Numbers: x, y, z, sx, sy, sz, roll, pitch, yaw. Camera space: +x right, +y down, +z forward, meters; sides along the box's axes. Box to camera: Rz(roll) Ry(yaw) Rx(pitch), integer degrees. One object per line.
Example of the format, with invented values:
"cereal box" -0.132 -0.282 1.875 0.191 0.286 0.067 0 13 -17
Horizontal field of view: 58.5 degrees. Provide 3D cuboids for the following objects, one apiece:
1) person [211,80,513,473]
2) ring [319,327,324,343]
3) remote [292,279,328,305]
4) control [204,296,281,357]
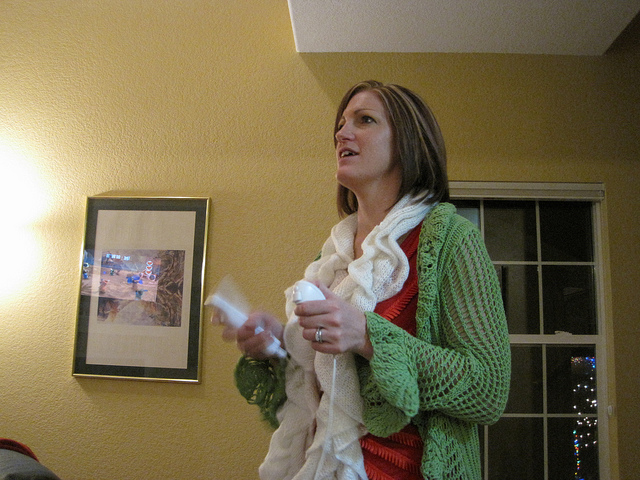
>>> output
"person" 0.167 0.095 1.940 0.908 1.410 0.463 0 -3 17
"ring" 0.004 0.295 1.762 0.012 0.045 0.010 1 -3 1
"remote" -0.034 0.169 1.816 0.092 0.033 0.074 14 -19 12
"control" -0.237 0.259 1.972 0.389 0.107 0.122 34 -6 -26
